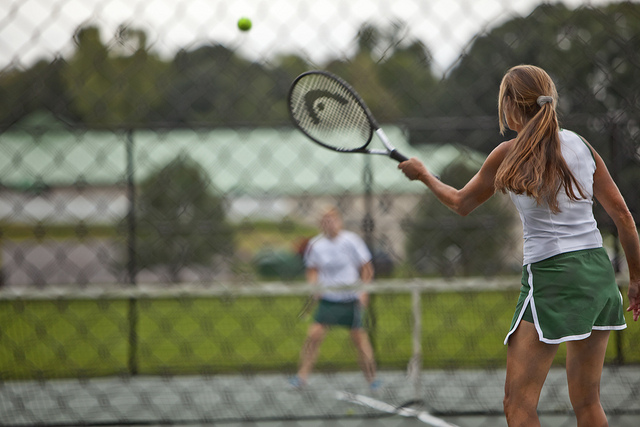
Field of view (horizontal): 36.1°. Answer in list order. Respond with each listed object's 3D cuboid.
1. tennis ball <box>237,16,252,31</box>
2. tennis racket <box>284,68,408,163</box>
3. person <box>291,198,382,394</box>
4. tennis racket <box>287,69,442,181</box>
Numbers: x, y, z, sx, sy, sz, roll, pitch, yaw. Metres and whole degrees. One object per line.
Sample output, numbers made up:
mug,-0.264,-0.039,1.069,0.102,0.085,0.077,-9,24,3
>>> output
tennis ball,-0.515,-1.291,6.666,0.081,0.084,0.046,-1,10,-3
tennis racket,0.078,-0.661,6.539,1.030,0.399,0.056,37,43,11
person,0.131,0.618,7.148,0.620,1.329,0.535,0,-2,12
tennis racket,0.117,-0.643,6.410,0.695,0.579,0.415,0,-2,4
